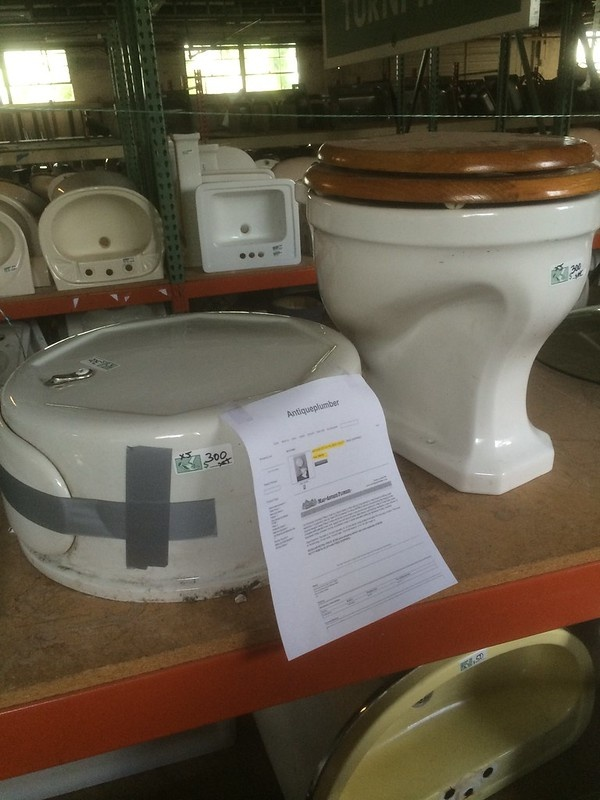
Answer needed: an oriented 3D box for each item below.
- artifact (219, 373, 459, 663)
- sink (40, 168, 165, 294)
[{"bbox_3d":[0.022,0.089,0.545,0.171,0.168,0.138,-19,30,-25],"label":"artifact"},{"bbox_3d":[-0.615,-0.502,1.983,0.352,0.317,0.278,-23,32,-32],"label":"sink"}]
